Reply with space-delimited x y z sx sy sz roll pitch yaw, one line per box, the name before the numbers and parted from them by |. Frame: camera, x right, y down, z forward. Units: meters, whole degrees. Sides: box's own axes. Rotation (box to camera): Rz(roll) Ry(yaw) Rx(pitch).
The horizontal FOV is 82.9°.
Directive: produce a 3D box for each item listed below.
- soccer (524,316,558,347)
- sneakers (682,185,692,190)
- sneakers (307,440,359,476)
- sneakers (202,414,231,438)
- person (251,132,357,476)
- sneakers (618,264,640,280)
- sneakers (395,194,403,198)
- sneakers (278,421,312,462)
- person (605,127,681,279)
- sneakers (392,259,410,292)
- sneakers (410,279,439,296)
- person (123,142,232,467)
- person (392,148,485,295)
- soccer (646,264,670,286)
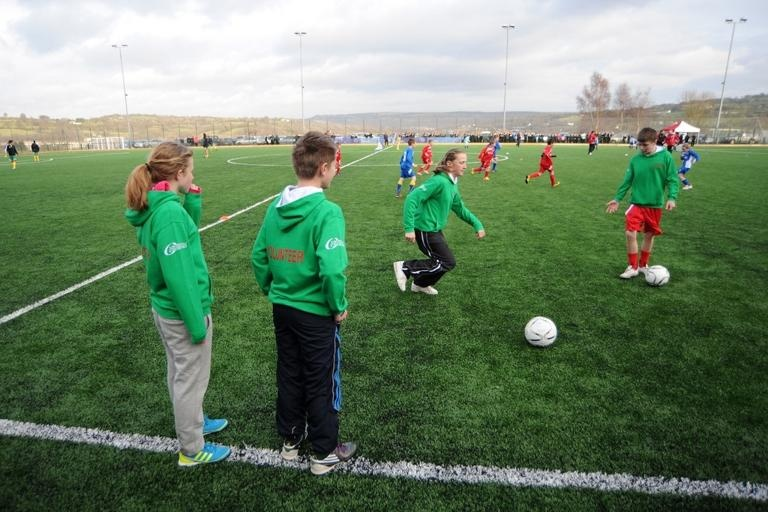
soccer | 1.808 0.854 5.079 0.339 0.339 0.341 11 49 26
sneakers | 10.160 -2.322 14.587 0.540 0.223 0.177 -9 12 -28
sneakers | -0.419 1.701 3.747 0.450 0.182 0.166 -11 17 -39
sneakers | -1.540 1.525 3.947 0.311 0.136 0.114 -4 23 -19
person | -0.648 0.396 3.577 0.683 2.732 0.770 -6 17 -17
sneakers | 3.714 0.242 6.697 0.424 0.188 0.136 -3 5 -23
sneakers | 0.455 -1.907 13.463 0.234 0.152 0.076 -10 22 -23
sneakers | -0.737 1.586 3.853 0.166 0.185 0.442 7 18 16
person | 4.012 -0.820 6.686 0.860 2.217 0.794 -3 17 -8
sneakers | 0.229 0.289 6.394 0.217 0.464 0.159 -7 14 4
sneakers | 0.578 0.444 6.282 0.406 0.181 0.147 3 32 7
person | -1.689 0.424 3.586 0.529 2.628 0.712 -10 19 -28
person | 0.709 -0.457 6.087 1.092 2.005 0.529 -4 17 -11
soccer | 4.041 0.285 6.445 0.330 0.271 0.243 7 18 23
